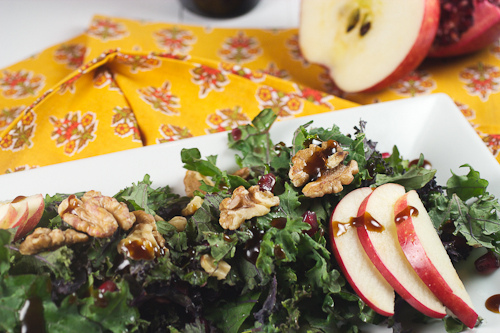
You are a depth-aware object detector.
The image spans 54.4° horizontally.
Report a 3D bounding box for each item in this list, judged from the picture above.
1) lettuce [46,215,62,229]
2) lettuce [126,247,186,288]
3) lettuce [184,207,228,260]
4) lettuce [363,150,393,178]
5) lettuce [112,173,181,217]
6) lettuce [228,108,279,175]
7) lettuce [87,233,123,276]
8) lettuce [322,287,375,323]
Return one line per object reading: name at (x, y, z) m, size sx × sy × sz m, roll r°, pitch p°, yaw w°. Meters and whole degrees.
lettuce at (-0.907, 0.269, 2.265) m, size 0.055 × 0.023 × 0.064 m, roll 21°, pitch 64°, yaw 2°
lettuce at (-0.401, 0.448, 2.117) m, size 0.229 × 0.120 × 0.149 m, roll -15°, pitch 52°, yaw -21°
lettuce at (-0.160, 0.346, 2.215) m, size 0.199 × 0.051 × 0.179 m, roll -13°, pitch 76°, yaw -36°
lettuce at (0.642, 0.009, 2.450) m, size 0.124 × 0.047 × 0.173 m, roll 19°, pitch 23°, yaw 2°
lettuce at (-0.516, 0.153, 2.425) m, size 0.229 × 0.065 × 0.234 m, roll 16°, pitch 17°, yaw -20°
lettuce at (0.047, -0.119, 2.689) m, size 0.294 × 0.089 × 0.338 m, roll 37°, pitch 94°, yaw 16°
lettuce at (-0.644, 0.377, 2.093) m, size 0.147 × 0.049 × 0.163 m, roll -7°, pitch 86°, yaw 2°
lettuce at (0.430, 0.647, 2.231) m, size 0.189 × 0.214 × 0.089 m, roll 2°, pitch 80°, yaw -14°
